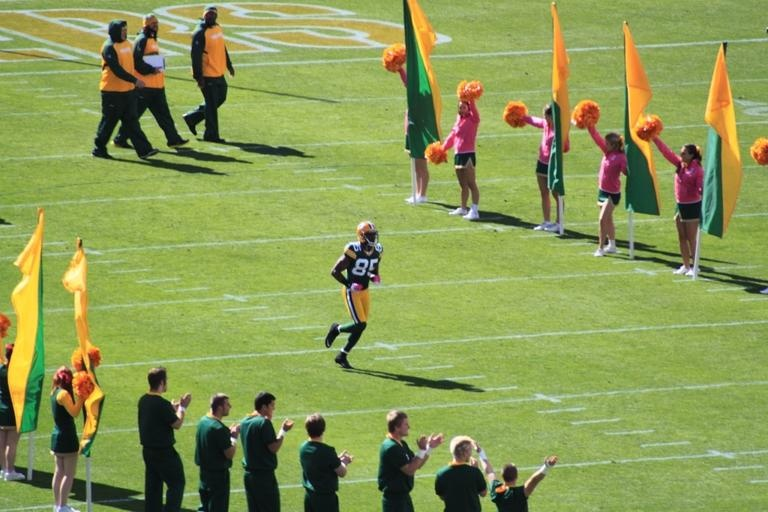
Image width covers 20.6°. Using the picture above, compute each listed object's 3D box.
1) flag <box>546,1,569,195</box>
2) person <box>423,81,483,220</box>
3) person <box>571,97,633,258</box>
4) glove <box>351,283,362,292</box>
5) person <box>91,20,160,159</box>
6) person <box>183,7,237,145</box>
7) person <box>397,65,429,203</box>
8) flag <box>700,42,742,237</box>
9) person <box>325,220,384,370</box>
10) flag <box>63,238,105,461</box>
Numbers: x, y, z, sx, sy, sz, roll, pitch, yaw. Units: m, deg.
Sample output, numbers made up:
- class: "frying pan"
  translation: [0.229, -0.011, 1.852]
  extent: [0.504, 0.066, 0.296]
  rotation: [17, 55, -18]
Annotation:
- class: "flag"
  translation: [2.951, -2.492, 35.939]
  extent: [0.616, 2.760, 0.421]
  rotation: [5, 0, -9]
- class: "person"
  translation: [1.251, -1.831, 36.830]
  extent: [0.845, 2.430, 1.050]
  rotation: [1, 5, 1]
- class: "person"
  translation: [3.859, -1.306, 35.629]
  extent: [1.097, 2.484, 0.971]
  rotation: [4, -2, 24]
- class: "glove"
  translation: [-0.420, 0.485, 32.140]
  extent: [0.160, 0.124, 0.085]
  rotation: [1, 4, -1]
- class: "person"
  translation: [-4.720, -3.089, 38.455]
  extent: [1.204, 2.358, 1.100]
  rotation: [4, 9, 22]
- class: "person"
  translation: [-3.254, -3.397, 39.510]
  extent: [0.857, 2.567, 1.128]
  rotation: [1, 5, -4]
- class: "person"
  translation: [0.557, -2.333, 37.086]
  extent: [0.544, 3.229, 0.691]
  rotation: [-8, 17, -19]
- class: "flag"
  translation: [5.480, -1.851, 34.297]
  extent: [0.579, 3.161, 0.675]
  rotation: [0, 5, -16]
- class: "person"
  translation: [-0.518, 0.611, 32.468]
  extent: [0.915, 2.126, 1.107]
  rotation: [3, -1, -18]
- class: "flag"
  translation: [-4.122, 1.282, 29.152]
  extent: [0.458, 3.003, 0.897]
  rotation: [0, 5, -14]
